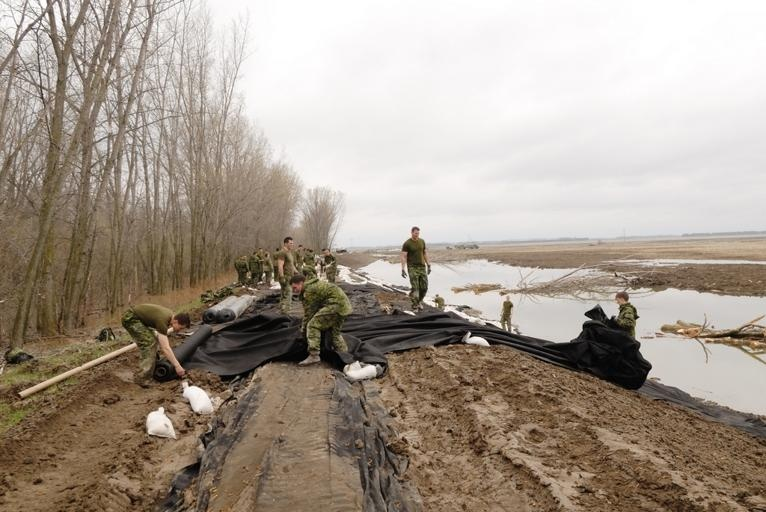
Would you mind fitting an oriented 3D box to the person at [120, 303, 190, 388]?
[{"bbox_3d":[-4.322,1.677,7.651,0.915,1.571,0.398,-3,2,-1],"label":"person"}]
